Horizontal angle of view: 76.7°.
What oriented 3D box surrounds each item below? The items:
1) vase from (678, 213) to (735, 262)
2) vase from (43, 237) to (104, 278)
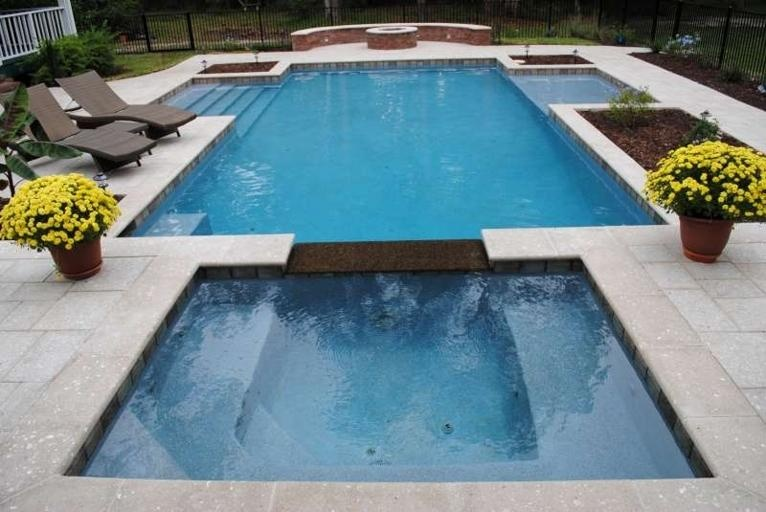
[{"bbox_3d":[3.447,-0.185,5.131,0.564,0.422,0.529,0,10,-16],"label":"vase"},{"bbox_3d":[-3.176,0.022,5.125,0.481,0.337,0.493,17,30,26],"label":"vase"}]
